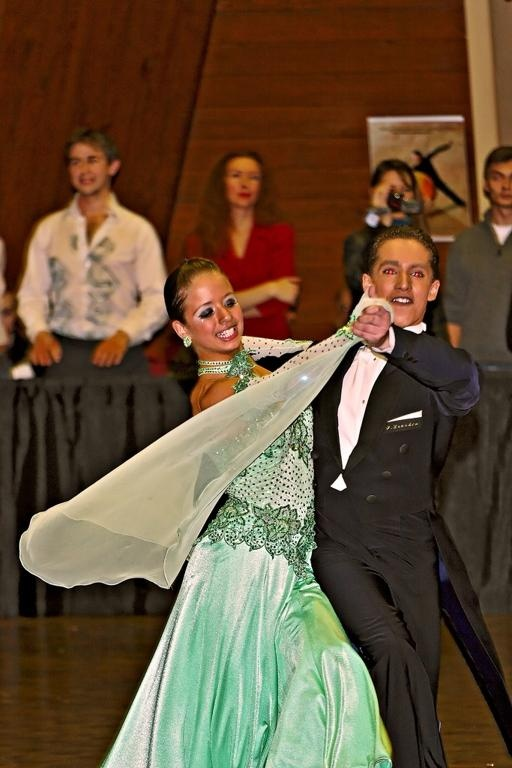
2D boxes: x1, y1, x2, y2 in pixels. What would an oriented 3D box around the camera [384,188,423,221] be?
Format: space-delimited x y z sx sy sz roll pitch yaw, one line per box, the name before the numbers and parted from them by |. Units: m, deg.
camera | 0.628 -0.746 3.412 0.078 0.118 0.184 2 4 38
